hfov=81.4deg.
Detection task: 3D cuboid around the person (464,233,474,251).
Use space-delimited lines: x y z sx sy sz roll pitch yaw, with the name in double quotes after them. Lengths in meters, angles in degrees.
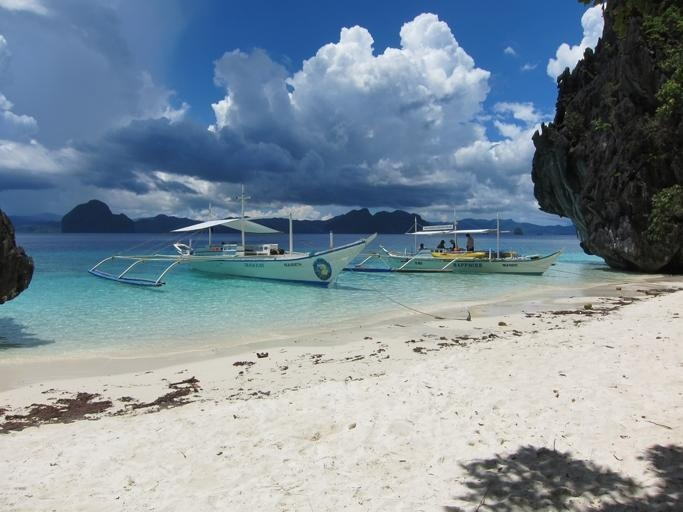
12.900 -1.274 40.022 0.603 1.701 1.456 -2 5 15 "person"
